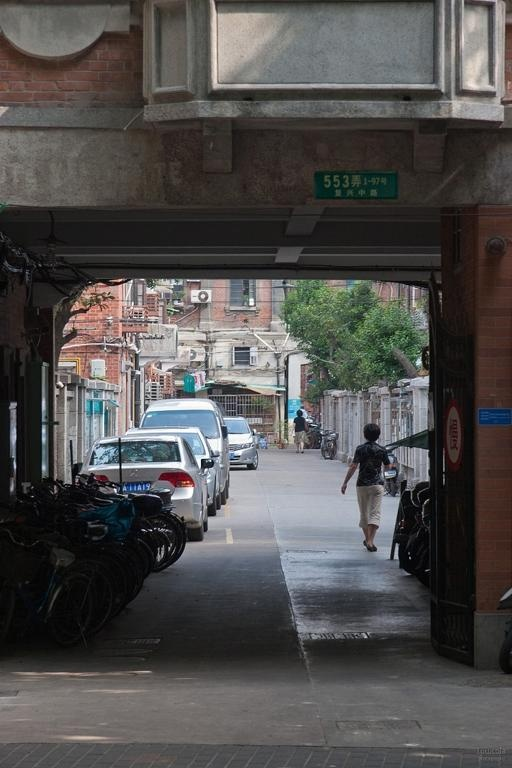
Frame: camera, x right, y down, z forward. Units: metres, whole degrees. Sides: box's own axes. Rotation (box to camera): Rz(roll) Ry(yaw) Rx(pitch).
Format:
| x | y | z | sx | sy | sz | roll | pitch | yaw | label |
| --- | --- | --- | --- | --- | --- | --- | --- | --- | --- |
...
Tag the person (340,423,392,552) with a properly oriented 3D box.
| x | y | z | sx | sy | sz | roll | pitch | yaw | label |
| --- | --- | --- | --- | --- | --- | --- | --- | --- | --- |
| 1.405 | 1.275 | 15.195 | 0.581 | 1.589 | 2.063 | 0 | -1 | 5 | person |
